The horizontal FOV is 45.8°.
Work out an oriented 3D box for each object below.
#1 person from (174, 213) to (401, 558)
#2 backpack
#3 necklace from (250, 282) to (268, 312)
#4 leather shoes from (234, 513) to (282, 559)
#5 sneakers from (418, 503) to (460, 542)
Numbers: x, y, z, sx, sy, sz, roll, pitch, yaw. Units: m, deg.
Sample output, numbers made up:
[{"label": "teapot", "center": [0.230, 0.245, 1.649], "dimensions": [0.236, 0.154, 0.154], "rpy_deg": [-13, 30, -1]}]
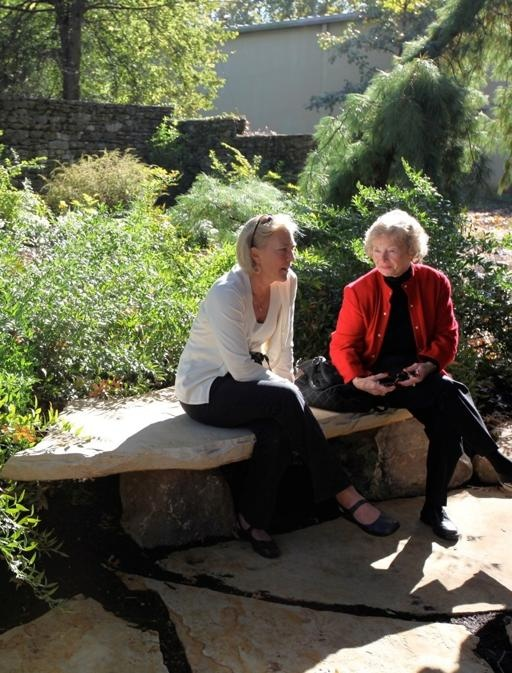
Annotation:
[{"label": "person", "center": [-0.001, 0.134, 2.758], "dimensions": [0.728, 1.350, 0.709], "rpy_deg": [-2, 12, -8]}, {"label": "backpack", "center": [0.369, 0.233, 3.136], "dimensions": [0.286, 0.133, 0.347], "rpy_deg": [-8, 10, -24]}, {"label": "necklace", "center": [0.020, -0.184, 2.858], "dimensions": [0.039, 0.108, 0.123], "rpy_deg": [2, 9, 32]}, {"label": "leather shoes", "center": [0.006, 0.893, 2.738], "dimensions": [0.269, 0.098, 0.092], "rpy_deg": [24, 26, 39]}, {"label": "sneakers", "center": [0.847, 0.863, 2.805], "dimensions": [0.075, 0.079, 0.204], "rpy_deg": [-5, 12, -24]}]
